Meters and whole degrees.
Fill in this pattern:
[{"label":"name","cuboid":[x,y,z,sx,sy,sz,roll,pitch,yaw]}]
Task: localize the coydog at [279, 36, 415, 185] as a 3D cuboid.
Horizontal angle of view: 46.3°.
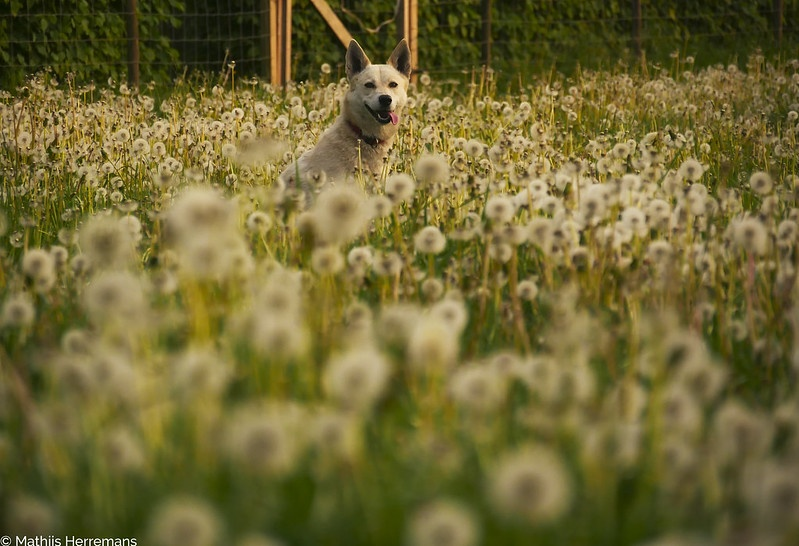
[{"label":"coydog","cuboid":[-0.286,-0.867,6.215,0.650,1.256,1.232,-3,15,-4]}]
